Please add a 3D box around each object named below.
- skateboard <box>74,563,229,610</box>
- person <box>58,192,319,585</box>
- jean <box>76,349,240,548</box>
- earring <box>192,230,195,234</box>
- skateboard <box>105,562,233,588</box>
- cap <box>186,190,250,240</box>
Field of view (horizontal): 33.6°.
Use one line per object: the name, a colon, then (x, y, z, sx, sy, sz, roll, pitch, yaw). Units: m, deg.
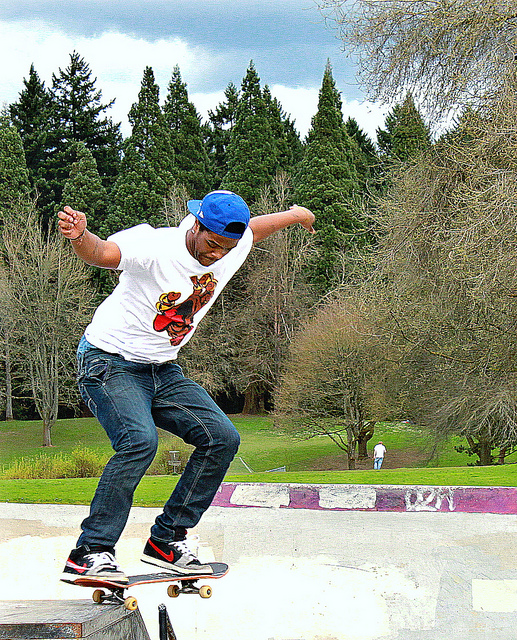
skateboard: (-0.522, 1.646, 5.415, 1.237, 0.164, 0.332, 4, -1, -39)
person: (-0.558, 0.437, 5.406, 1.480, 2.465, 0.804, -2, 2, -20)
jean: (-0.761, 0.786, 5.764, 1.083, 1.213, 1.141, -5, 13, -35)
earring: (-0.398, -0.549, 5.270, 0.010, 0.017, 0.022, -3, 2, -22)
skateboard: (-0.542, 1.532, 5.360, 0.736, 0.079, 0.205, 0, -1, -24)
cap: (-0.257, -0.689, 5.369, 0.296, 0.197, 0.404, -1, 29, -34)
